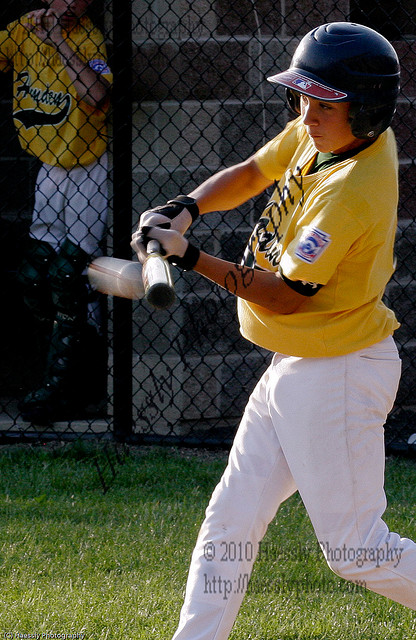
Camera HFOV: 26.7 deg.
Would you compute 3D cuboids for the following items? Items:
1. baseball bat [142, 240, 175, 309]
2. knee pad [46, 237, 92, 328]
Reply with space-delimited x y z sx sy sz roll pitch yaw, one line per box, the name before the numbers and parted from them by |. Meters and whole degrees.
baseball bat | -0.118 -0.107 2.021 0.085 0.147 0.077 -3 17 -7
knee pad | -0.734 -0.205 4.634 0.220 0.466 0.247 -3 13 -21
